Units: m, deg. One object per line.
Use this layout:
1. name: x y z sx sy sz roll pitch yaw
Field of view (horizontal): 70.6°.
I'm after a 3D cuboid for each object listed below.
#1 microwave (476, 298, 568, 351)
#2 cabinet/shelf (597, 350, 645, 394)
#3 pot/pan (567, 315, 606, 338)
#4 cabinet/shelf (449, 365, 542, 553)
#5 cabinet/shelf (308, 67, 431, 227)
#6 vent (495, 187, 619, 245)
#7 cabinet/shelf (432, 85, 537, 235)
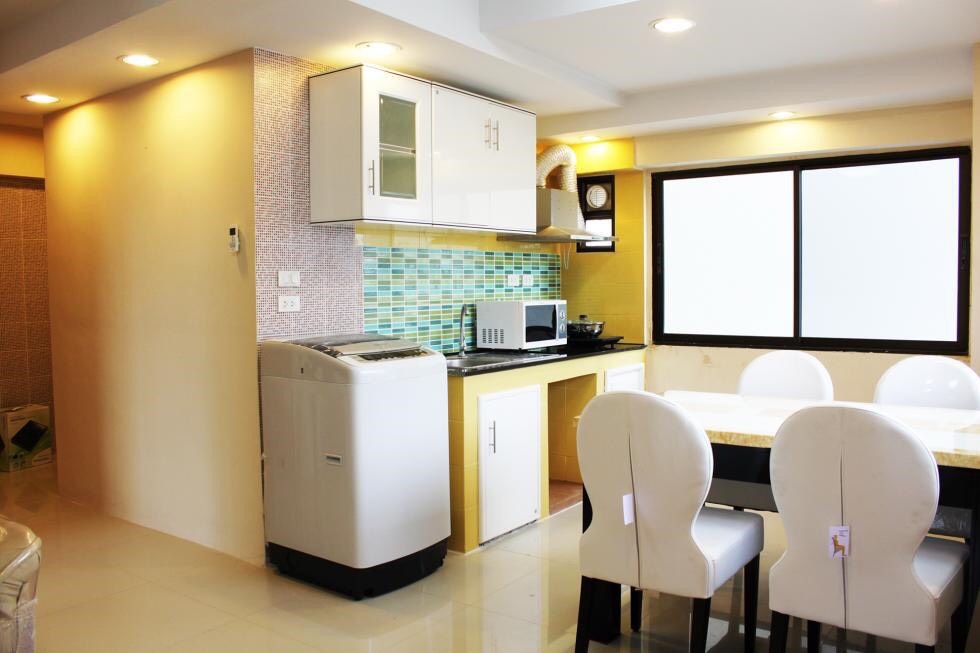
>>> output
1. microwave: 0.226 -0.014 5.479 0.428 0.348 0.588 -1 0 40
2. cabinet/shelf: 1.079 0.461 5.851 0.389 0.336 0.226 -11 16 -25
3. pot/pan: 0.796 -0.007 5.872 0.267 0.155 0.372 1 9 6
4. cabinet/shelf: -0.131 0.929 4.886 0.705 1.016 0.776 0 -1 41
5. cabinet/shelf: -0.748 -1.118 4.288 0.769 0.930 0.431 -1 9 -6
6. vent: 0.582 -0.894 5.699 0.533 0.315 0.680 -1 0 37
7. cabinet/shelf: -0.154 -1.149 5.007 0.385 0.916 1.091 2 4 44
